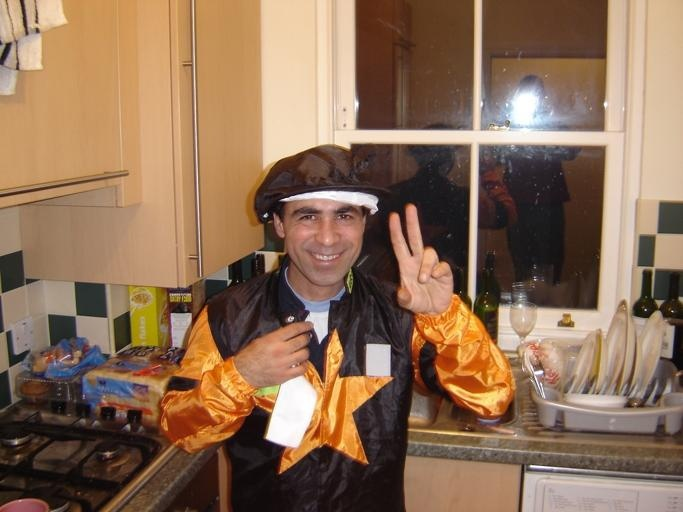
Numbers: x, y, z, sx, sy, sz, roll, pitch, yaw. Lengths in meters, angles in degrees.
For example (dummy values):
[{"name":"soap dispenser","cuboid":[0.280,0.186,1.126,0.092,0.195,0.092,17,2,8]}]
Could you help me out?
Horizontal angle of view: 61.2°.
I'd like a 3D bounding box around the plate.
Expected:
[{"name":"plate","cuboid":[0.909,0.317,1.933,0.301,0.316,0.162,1,7,18]}]
